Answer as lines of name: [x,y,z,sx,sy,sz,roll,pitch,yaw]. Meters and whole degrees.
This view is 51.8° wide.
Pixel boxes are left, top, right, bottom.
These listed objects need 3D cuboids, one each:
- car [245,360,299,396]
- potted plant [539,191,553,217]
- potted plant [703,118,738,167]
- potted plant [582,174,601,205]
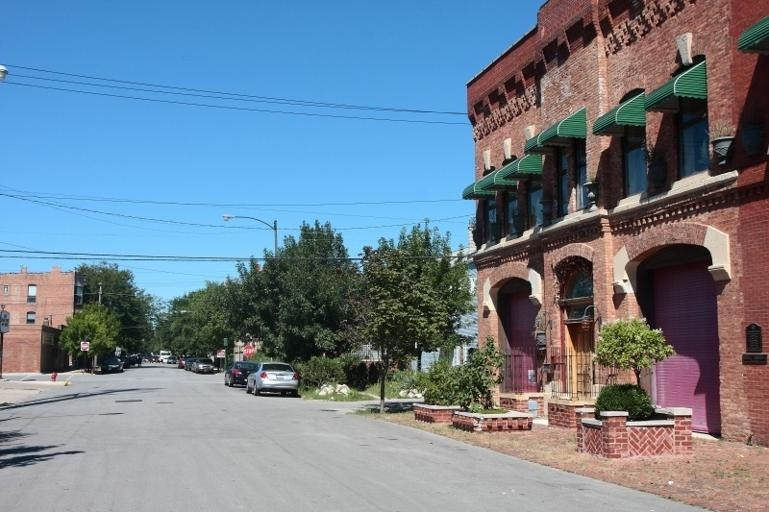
car: [-5.500,6.277,40.281,1.969,1.780,2.610,5,-14,-21]
potted plant: [6.084,-1.861,29.102,0.266,1.143,0.507,9,-16,-36]
potted plant: [9.457,-3.140,21.860,1.069,1.541,0.939,1,-4,15]
potted plant: [7.135,-2.100,26.761,0.823,1.390,0.814,-1,-3,13]
